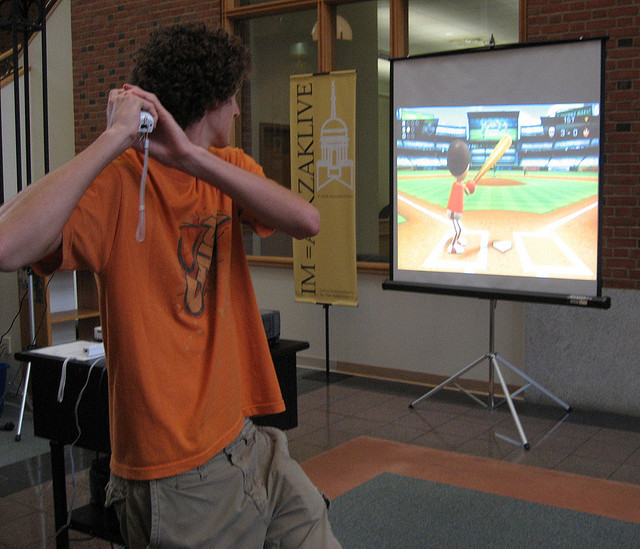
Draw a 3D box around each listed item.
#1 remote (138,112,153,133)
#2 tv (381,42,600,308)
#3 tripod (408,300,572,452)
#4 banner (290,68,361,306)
[{"bbox_3d":[-0.338,-0.295,1.227,0.037,0.044,0.030,-3,11,-30],"label":"remote"},{"bbox_3d":[1.124,-0.654,4.057,1.457,1.881,0.114,3,9,28],"label":"tv"},{"bbox_3d":[1.179,0.542,4.437,0.841,0.808,0.972,-6,8,-44],"label":"tripod"},{"bbox_3d":[0.016,-0.658,4.899,0.574,1.777,0.071,3,6,30],"label":"banner"}]
